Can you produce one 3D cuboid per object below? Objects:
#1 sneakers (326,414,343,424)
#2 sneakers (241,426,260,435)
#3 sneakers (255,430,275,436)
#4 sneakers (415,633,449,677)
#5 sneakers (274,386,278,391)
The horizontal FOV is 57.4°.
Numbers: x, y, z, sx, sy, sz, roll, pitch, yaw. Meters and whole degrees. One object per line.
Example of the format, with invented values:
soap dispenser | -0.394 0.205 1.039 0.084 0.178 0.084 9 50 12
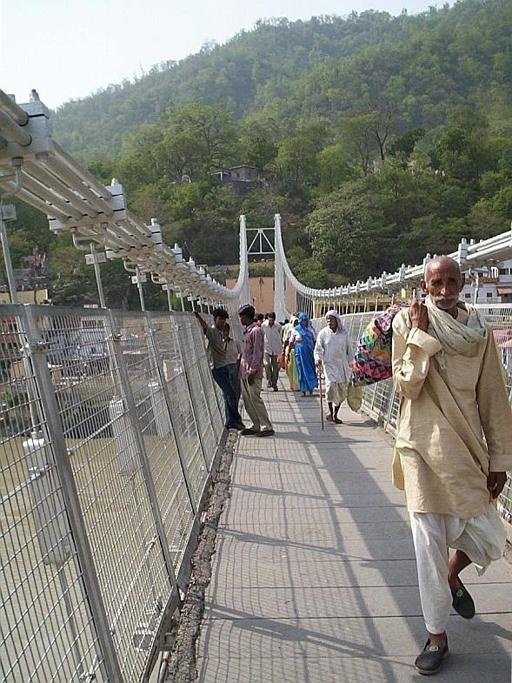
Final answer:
sneakers | 1.333 1.319 7.829 0.256 0.163 0.272 0 -1 9
sneakers | -0.060 1.396 7.129 0.320 0.111 0.128 5 45 12
sneakers | 0.160 1.380 7.052 0.284 0.093 0.109 3 3 -29
sneakers | 0.742 1.327 1.966 0.076 0.075 0.211 -6 -12 26
sneakers | 0.576 1.295 12.558 0.100 0.176 0.098 -4 6 -1
